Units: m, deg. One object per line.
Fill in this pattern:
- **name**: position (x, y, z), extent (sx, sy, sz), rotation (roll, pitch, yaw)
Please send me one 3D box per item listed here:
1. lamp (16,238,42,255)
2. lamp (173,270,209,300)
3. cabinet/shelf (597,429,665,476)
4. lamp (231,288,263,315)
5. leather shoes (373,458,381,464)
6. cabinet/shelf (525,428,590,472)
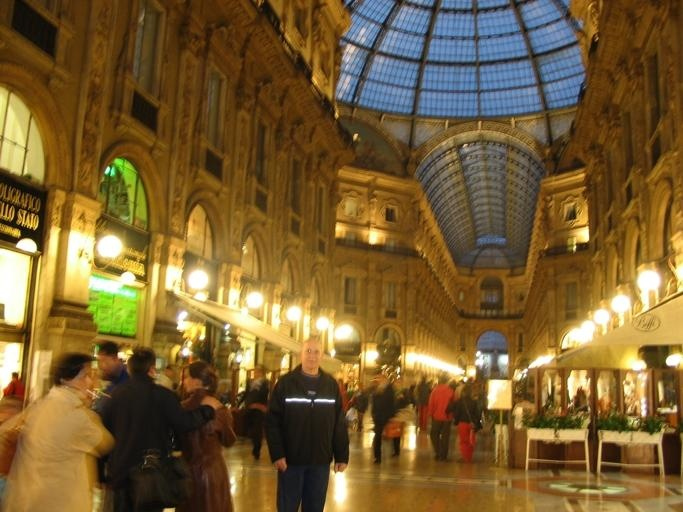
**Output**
- **lamp**: position (-6.702, -0.237, 13.320), extent (0.119, 0.330, 0.679), rotation (0, -21, 13)
- **lamp**: position (-4.208, 0.817, 18.210), extent (0.529, 0.568, 1.253), rotation (-6, 1, -24)
- **cabinet/shelf**: position (6.320, 4.256, 13.489), extent (0.869, 0.696, 0.351), rotation (0, -9, 12)
- **lamp**: position (-3.193, 1.563, 21.630), extent (0.835, 0.444, 0.790), rotation (3, -39, 2)
- **leather shoes**: position (0.833, 4.741, 14.385), extent (0.174, 0.196, 0.103), rotation (0, -21, 0)
- **cabinet/shelf**: position (4.792, 4.287, 13.774), extent (0.810, 0.686, 0.320), rotation (0, -7, 8)
